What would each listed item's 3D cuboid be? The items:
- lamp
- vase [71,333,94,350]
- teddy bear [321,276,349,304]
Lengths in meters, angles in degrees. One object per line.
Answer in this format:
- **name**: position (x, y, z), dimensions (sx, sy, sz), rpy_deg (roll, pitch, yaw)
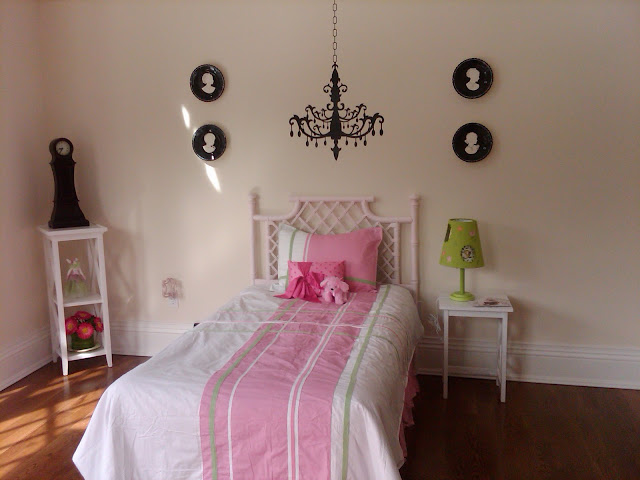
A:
- **lamp**: position (1.121, 0.152, 3.947), dimensions (0.319, 0.653, 0.309), rpy_deg (-1, 2, 16)
- **vase**: position (-2.066, 0.857, 4.355), dimensions (0.141, 0.121, 0.141), rpy_deg (-5, 7, -43)
- **teddy bear**: position (0.114, 0.384, 3.778), dimensions (0.147, 0.077, 0.211), rpy_deg (3, 31, 3)
